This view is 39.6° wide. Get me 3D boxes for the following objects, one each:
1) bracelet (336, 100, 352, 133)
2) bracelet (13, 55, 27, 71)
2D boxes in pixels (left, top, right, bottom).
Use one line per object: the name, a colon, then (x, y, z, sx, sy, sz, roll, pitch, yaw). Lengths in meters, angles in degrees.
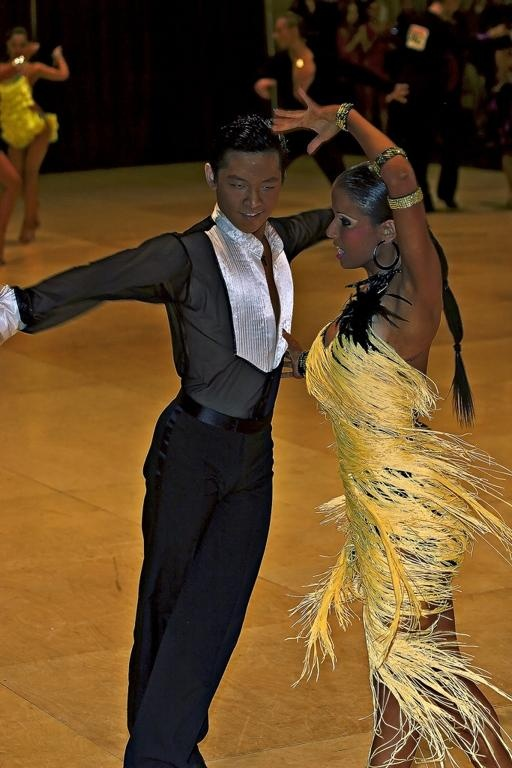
bracelet: (0.165, -0.505, 1.342, 0.023, 0.054, 0.043, 13, 31, 6)
bracelet: (-2.526, -3.431, 7.599, 0.153, 0.045, 0.109, -26, 22, -23)
